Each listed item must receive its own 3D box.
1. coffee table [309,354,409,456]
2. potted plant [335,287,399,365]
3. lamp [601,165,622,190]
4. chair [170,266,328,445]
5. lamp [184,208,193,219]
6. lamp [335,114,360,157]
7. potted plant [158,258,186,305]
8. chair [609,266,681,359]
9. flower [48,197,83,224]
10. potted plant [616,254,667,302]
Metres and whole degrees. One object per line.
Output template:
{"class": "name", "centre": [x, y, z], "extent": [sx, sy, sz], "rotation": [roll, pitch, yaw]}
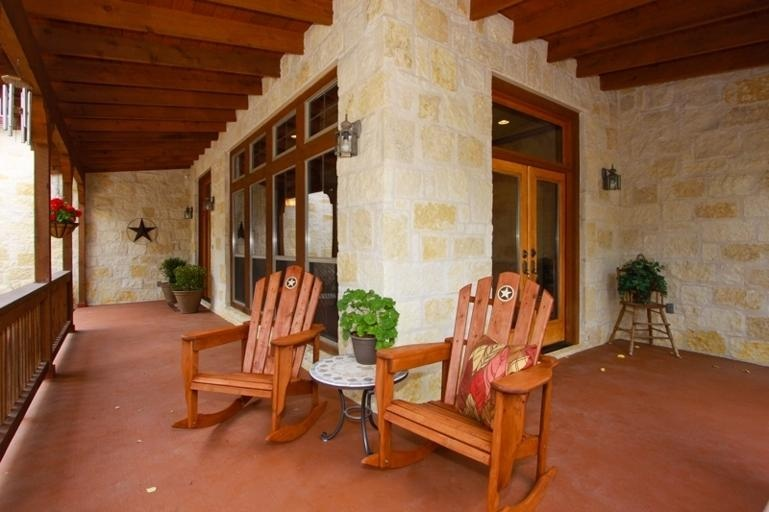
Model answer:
{"class": "coffee table", "centre": [-0.254, 1.306, 4.305], "extent": [0.828, 0.623, 0.822], "rotation": [-1, 6, -2]}
{"class": "potted plant", "centre": [-0.193, 0.557, 4.441], "extent": [0.622, 0.718, 0.613], "rotation": [-4, 6, -39]}
{"class": "lamp", "centre": [3.018, -1.044, 6.404], "extent": [0.286, 0.350, 0.166], "rotation": [-3, 3, -44]}
{"class": "chair", "centre": [-1.141, 0.872, 4.392], "extent": [1.368, 1.367, 1.408], "rotation": [-2, 3, -27]}
{"class": "lamp", "centre": [-4.204, -0.926, 10.373], "extent": [0.149, 0.247, 0.456], "rotation": [-2, 2, -23]}
{"class": "lamp", "centre": [-0.377, -1.197, 4.843], "extent": [0.174, 0.394, 0.240], "rotation": [-3, 3, -42]}
{"class": "potted plant", "centre": [-4.086, 0.512, 9.505], "extent": [0.515, 0.911, 0.558], "rotation": [15, -1, -19]}
{"class": "chair", "centre": [3.533, 0.733, 6.338], "extent": [0.499, 0.744, 0.549], "rotation": [-12, -14, 40]}
{"class": "flower", "centre": [-4.313, -0.608, 6.529], "extent": [0.295, 0.331, 0.352], "rotation": [1, 3, 42]}
{"class": "potted plant", "centre": [3.338, 0.265, 6.240], "extent": [0.513, 0.526, 0.487], "rotation": [-11, 15, -18]}
